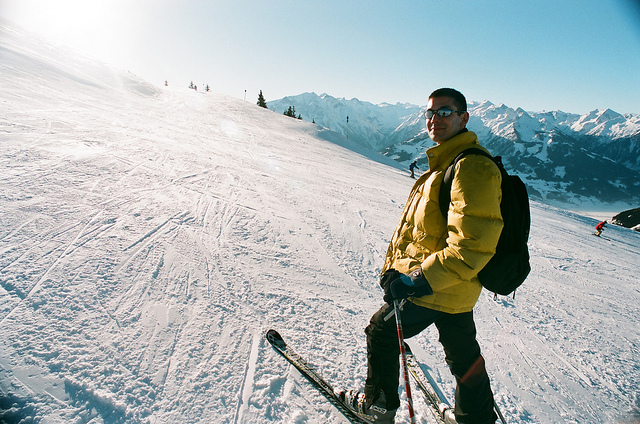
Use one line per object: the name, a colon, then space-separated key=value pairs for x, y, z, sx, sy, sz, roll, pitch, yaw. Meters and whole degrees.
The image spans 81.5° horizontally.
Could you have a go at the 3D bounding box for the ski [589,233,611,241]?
ski: x=14.919 y=1.338 z=19.819 sx=0.090 sy=0.118 sz=0.819 roll=48 pitch=5 yaw=-17
